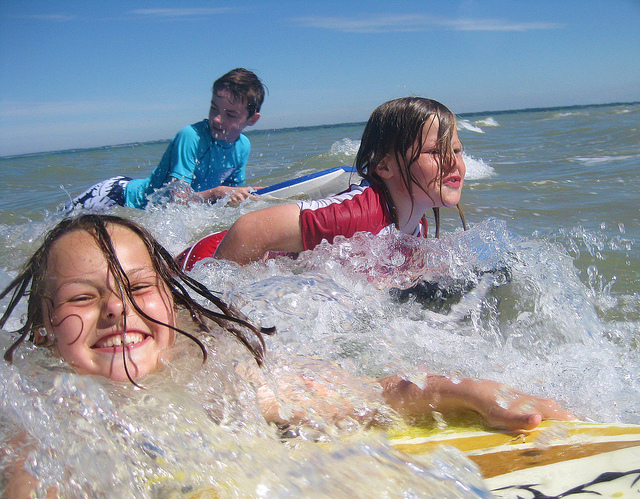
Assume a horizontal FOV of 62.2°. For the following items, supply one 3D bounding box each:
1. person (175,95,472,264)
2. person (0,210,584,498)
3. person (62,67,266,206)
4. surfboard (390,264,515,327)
[{"bbox_3d":[-0.013,-0.416,3.873,0.802,1.048,2.517,-1,3,-38],"label":"person"},{"bbox_3d":[-0.129,0.356,1.808,1.607,0.522,1.121,-4,-2,12],"label":"person"},{"bbox_3d":[-1.853,-1.060,6.183,3.302,1.378,1.111,-2,-2,34],"label":"person"},{"bbox_3d":[0.728,0.256,2.823,0.465,0.305,0.155,-9,-22,-15],"label":"surfboard"}]
